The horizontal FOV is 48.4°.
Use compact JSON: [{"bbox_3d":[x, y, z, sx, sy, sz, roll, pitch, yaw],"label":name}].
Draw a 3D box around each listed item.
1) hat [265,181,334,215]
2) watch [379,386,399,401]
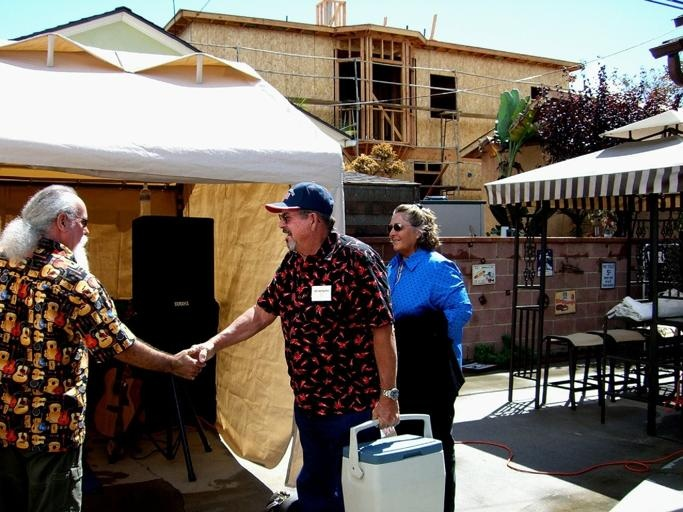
[{"bbox_3d":[-0.251,-0.344,4.874,0.341,0.185,0.221,8,2,-3],"label":"hat"},{"bbox_3d":[0.316,0.864,4.807,0.084,0.055,0.090,10,-11,-37],"label":"watch"}]
